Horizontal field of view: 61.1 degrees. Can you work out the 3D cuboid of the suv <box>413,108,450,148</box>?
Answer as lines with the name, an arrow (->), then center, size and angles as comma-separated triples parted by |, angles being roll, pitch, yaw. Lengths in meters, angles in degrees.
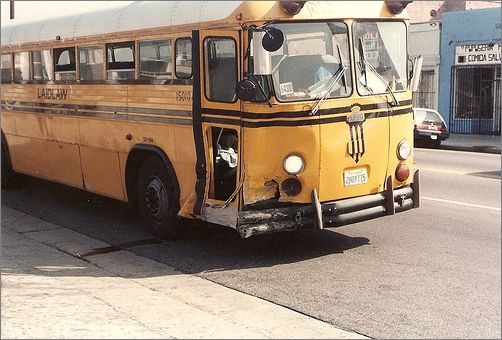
suv -> 9.748, -2.024, 23.673 | 1.775, 1.874, 4.141 | 4, -4, 10
